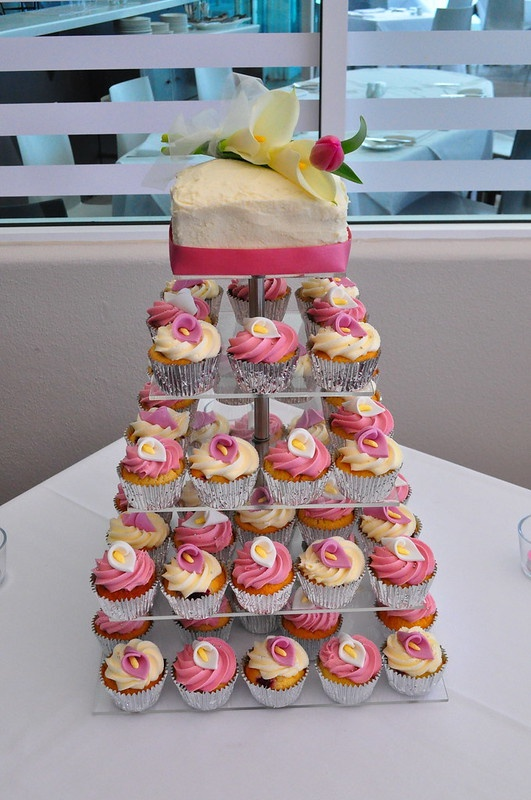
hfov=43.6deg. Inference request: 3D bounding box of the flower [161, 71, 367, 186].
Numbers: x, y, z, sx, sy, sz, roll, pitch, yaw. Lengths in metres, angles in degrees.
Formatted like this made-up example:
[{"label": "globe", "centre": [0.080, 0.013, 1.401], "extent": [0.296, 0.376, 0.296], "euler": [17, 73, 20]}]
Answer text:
[{"label": "flower", "centre": [-0.007, -0.294, 0.859], "extent": [0.239, 0.102, 0.194], "euler": [-10, 50, 15]}]
